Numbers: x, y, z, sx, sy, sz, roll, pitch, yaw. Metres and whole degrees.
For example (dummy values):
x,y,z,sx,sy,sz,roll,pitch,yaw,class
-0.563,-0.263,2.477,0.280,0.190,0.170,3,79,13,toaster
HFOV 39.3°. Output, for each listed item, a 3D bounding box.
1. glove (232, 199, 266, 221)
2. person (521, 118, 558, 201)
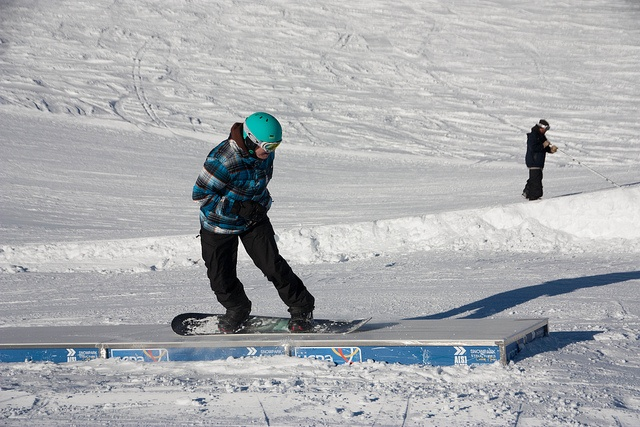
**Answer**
x,y,z,sx,sy,sz,roll,pitch,yaw,class
-1.825,-0.082,22.892,0.730,0.307,0.503,16,25,-11,glove
7.214,-1.763,29.734,0.935,2.622,1.256,3,10,12,person
